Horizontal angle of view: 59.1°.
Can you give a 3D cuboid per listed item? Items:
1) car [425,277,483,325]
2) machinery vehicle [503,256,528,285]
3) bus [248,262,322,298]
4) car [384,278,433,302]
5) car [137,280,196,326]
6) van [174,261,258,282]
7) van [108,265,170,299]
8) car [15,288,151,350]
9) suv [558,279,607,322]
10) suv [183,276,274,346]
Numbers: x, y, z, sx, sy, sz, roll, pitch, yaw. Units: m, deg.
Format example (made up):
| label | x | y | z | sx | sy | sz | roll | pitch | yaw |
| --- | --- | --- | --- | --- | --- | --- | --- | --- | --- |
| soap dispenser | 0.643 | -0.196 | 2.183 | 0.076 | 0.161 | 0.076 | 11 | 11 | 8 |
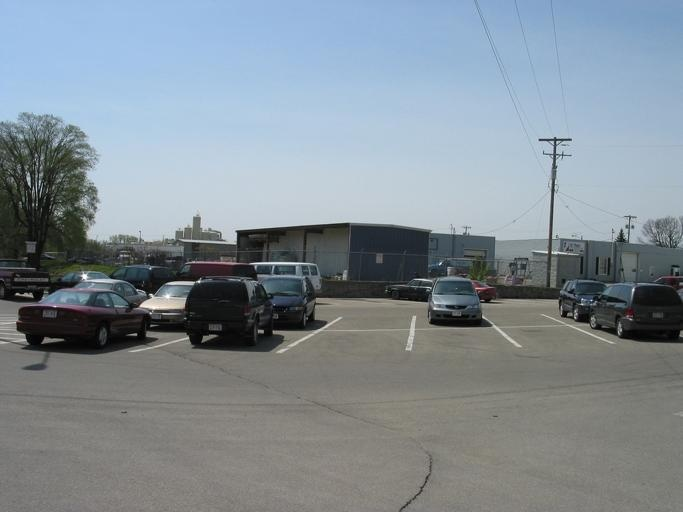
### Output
| label | x | y | z | sx | sy | sz | roll | pitch | yaw |
| --- | --- | --- | --- | --- | --- | --- | --- | --- | --- |
| car | 4.331 | 1.768 | 23.037 | 1.895 | 1.576 | 1.747 | 1 | 1 | 11 |
| machinery vehicle | 17.169 | 1.250 | 59.308 | 1.882 | 2.390 | 13.024 | 1 | 0 | 15 |
| bus | -2.918 | 1.246 | 32.696 | 3.008 | 1.422 | 1.717 | 1 | 0 | 1 |
| car | 4.663 | 2.128 | 39.334 | 1.277 | 0.963 | 2.641 | 5 | -3 | -42 |
| car | -5.689 | 1.569 | 20.426 | 1.200 | 0.930 | 2.729 | -1 | -3 | 7 |
| van | -5.370 | 0.552 | 25.485 | 2.444 | 1.268 | 1.465 | 3 | 1 | 16 |
| van | -9.023 | 1.076 | 27.323 | 2.217 | 1.137 | 1.396 | 6 | 5 | 16 |
| car | -6.510 | 1.553 | 15.545 | 1.525 | 1.440 | 2.808 | 2 | 1 | 23 |
| suv | 10.273 | 1.834 | 26.152 | 1.327 | 1.134 | 2.486 | -1 | -4 | -6 |
| suv | -2.893 | 1.357 | 17.031 | 1.248 | 1.186 | 2.610 | 1 | 3 | 9 |
